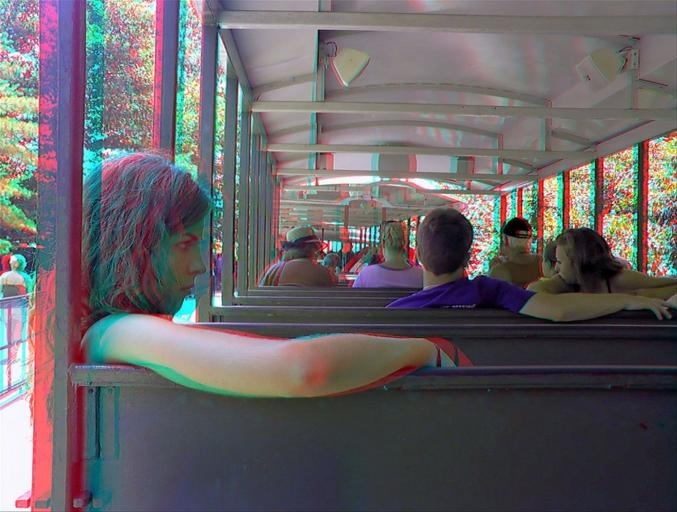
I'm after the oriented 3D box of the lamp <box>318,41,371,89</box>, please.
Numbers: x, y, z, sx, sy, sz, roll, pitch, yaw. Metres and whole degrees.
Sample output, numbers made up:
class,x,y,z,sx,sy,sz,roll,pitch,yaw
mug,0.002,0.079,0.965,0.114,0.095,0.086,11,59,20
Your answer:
class,x,y,z,sx,sy,sz,roll,pitch,yaw
lamp,0.055,-1.551,5.168,0.260,0.268,0.681,1,-3,14

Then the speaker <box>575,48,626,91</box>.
class,x,y,z,sx,sy,sz,roll,pitch,yaw
speaker,2.057,-1.485,5.161,0.417,0.234,0.246,-31,-8,13

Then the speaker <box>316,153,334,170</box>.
class,x,y,z,sx,sy,sz,roll,pitch,yaw
speaker,-0.138,-1.014,7.082,0.173,0.177,0.098,0,-9,8

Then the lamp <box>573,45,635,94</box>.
class,x,y,z,sx,sy,sz,roll,pitch,yaw
lamp,2.070,-1.471,5.096,0.297,0.199,0.489,2,-3,-7

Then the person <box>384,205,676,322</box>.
class,x,y,z,sx,sy,sz,roll,pitch,yaw
person,0.621,0.071,2.758,0.539,0.304,0.800,0,-10,-14

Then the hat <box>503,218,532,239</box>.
class,x,y,z,sx,sy,sz,roll,pitch,yaw
hat,1.100,-0.163,4.023,0.115,0.090,0.153,3,15,-12

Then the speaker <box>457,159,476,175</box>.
class,x,y,z,sx,sy,sz,roll,pitch,yaw
speaker,1.326,-0.921,6.849,0.199,0.148,0.110,2,-9,-20
